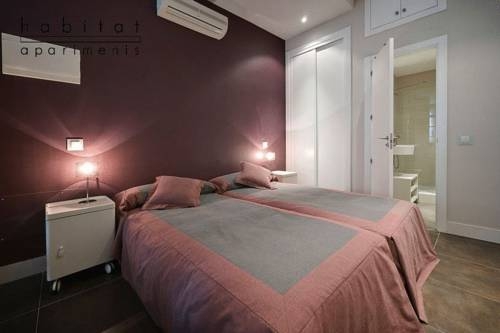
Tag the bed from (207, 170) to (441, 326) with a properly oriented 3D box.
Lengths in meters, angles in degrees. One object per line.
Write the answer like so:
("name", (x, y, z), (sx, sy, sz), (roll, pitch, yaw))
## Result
("bed", (0.965, 0.748, 4.049), (1.404, 0.630, 2.352), (-7, 9, -43))
